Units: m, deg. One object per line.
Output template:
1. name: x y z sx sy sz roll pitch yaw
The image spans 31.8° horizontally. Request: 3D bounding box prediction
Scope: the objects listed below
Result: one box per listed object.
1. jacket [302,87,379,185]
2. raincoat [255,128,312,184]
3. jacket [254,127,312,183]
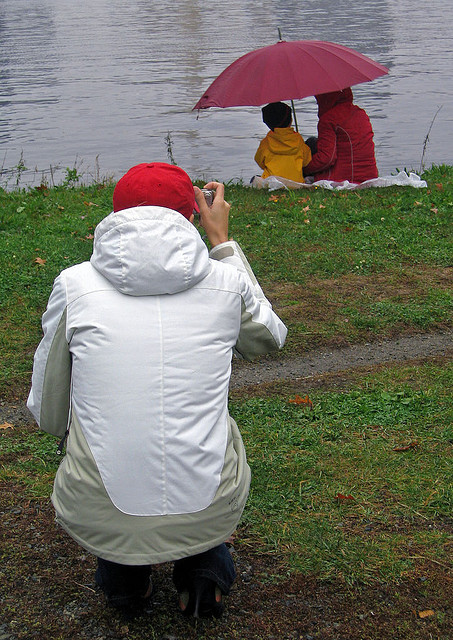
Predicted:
1. jacket: 1.407 -2.593 10.979 1.432 1.451 1.175 6 31 19
2. raincoat: 0.795 -2.321 11.086 0.742 0.735 0.682 6 25 3
3. jacket: 0.817 -2.307 11.113 0.761 0.746 0.705 6 25 4
